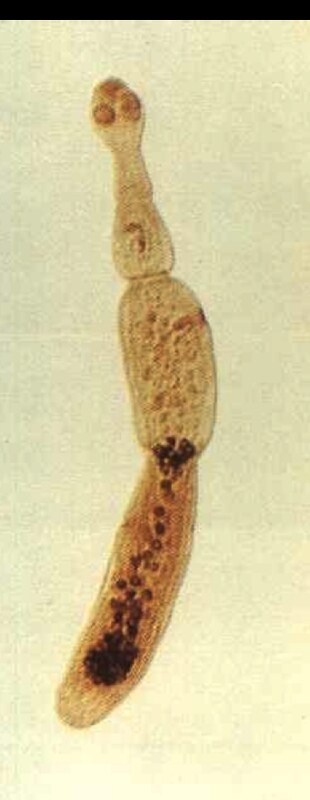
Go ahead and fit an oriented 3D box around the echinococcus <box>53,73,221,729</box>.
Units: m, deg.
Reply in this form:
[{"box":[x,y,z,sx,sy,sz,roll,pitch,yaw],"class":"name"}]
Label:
[{"box":[-0.013,0.051,1.139,0.230,0.954,0.084,-1,3,-18],"class":"echinococcus"}]
